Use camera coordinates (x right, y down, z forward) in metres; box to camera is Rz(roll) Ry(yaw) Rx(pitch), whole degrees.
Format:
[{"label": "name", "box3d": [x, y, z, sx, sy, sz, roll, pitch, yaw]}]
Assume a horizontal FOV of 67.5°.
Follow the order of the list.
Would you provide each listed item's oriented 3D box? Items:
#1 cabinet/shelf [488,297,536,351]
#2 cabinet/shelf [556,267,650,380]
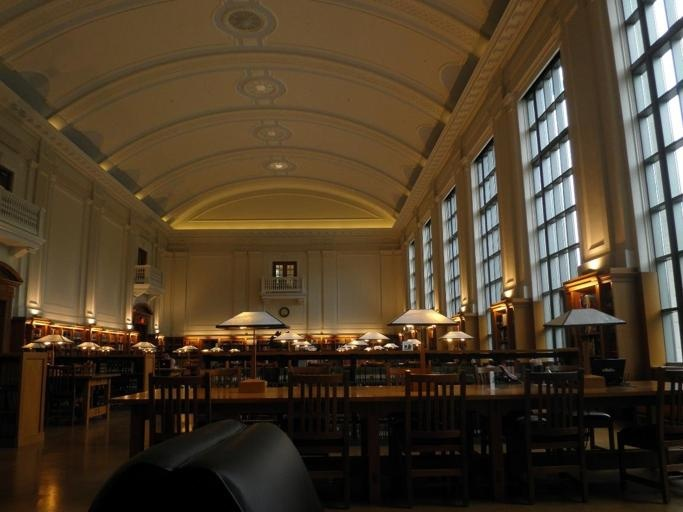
[{"label": "cabinet/shelf", "box3d": [3.629, 1.570, 10.932, 0.348, 1.068, 1.115, 0, -13, -20]}, {"label": "cabinet/shelf", "box3d": [3.783, 0.956, 7.235, 0.404, 1.560, 1.353, 4, -15, -3]}]
